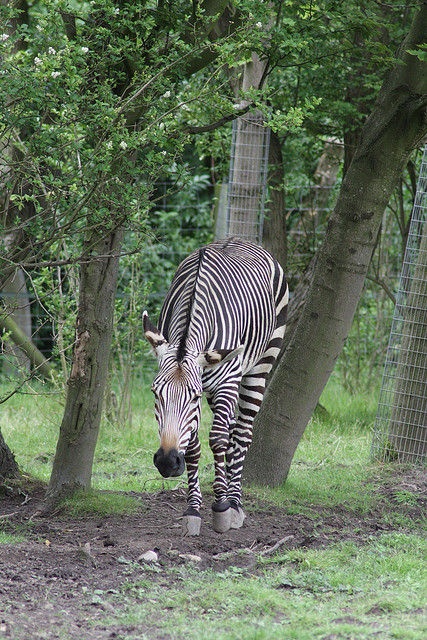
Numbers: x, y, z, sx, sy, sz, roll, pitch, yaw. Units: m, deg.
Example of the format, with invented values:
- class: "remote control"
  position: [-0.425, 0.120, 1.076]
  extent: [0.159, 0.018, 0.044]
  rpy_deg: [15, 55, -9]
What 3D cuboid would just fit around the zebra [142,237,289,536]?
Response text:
- class: "zebra"
  position: [-0.045, 0.321, 6.024]
  extent: [0.746, 1.593, 2.684]
  rpy_deg: [6, 12, 6]
